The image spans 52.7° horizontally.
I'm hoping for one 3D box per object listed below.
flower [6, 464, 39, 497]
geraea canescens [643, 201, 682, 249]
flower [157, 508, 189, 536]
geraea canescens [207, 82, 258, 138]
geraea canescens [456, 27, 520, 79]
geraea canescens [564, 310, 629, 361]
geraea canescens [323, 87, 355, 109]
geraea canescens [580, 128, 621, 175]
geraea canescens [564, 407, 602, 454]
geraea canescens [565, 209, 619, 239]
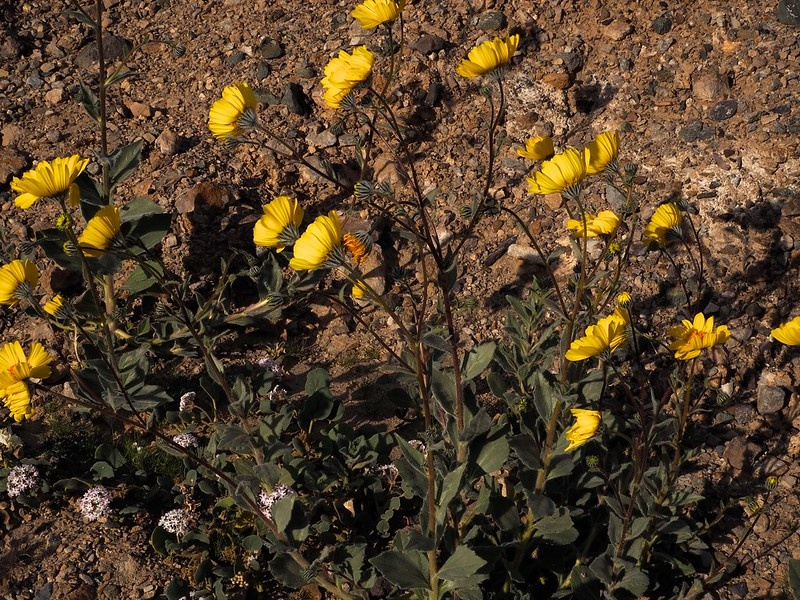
[{"bbox_3d":[-2.403,1.138,5.222,0.193,0.192,0.143,-18,67,1],"label":"flower"},{"bbox_3d":[1.471,-0.363,4.639,0.193,0.451,0.206,3,61,8],"label":"geraea canescens"},{"bbox_3d":[-1.403,1.391,5.092,0.159,0.172,0.162,22,66,17],"label":"flower"},{"bbox_3d":[-0.862,-0.993,4.212,0.255,0.271,0.109,-15,45,-36],"label":"geraea canescens"},{"bbox_3d":[0.493,-1.312,4.324,0.177,0.325,0.355,54,30,-5],"label":"geraea canescens"},{"bbox_3d":[1.012,0.198,4.108,0.394,0.210,0.154,-41,65,-15],"label":"geraea canescens"},{"bbox_3d":[-0.331,-1.078,4.349,0.137,0.063,0.141,-46,50,15],"label":"geraea canescens"},{"bbox_3d":[1.036,-0.759,4.206,0.099,0.206,0.214,33,45,-5],"label":"geraea canescens"},{"bbox_3d":[0.911,0.637,4.080,0.147,0.184,0.157,15,64,14],"label":"geraea canescens"},{"bbox_3d":[1.080,-0.421,4.557,0.241,0.063,0.251,-27,25,-20],"label":"geraea canescens"}]
